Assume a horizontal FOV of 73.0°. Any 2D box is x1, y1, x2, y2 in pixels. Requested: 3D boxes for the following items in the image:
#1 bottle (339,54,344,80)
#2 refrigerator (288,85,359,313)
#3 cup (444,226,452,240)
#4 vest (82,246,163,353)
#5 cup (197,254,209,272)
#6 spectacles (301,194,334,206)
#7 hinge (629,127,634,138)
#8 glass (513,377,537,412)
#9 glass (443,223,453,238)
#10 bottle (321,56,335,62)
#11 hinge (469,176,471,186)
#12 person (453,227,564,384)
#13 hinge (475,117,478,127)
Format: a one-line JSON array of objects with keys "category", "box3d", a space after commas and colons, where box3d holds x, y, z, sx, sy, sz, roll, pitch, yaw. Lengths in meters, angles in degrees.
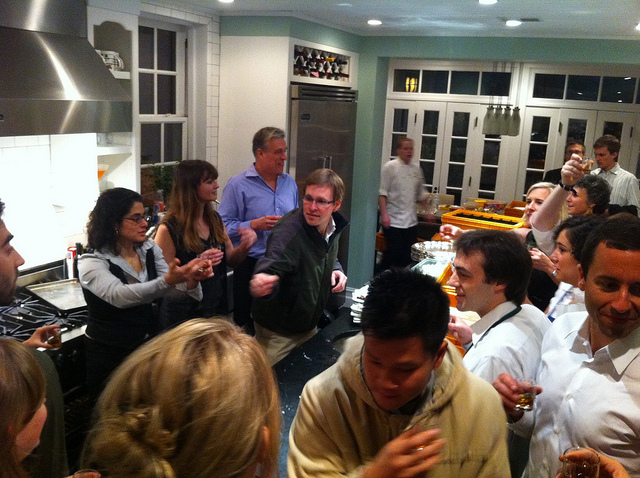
[{"category": "bottle", "box3d": [0.284, -2.298, 5.786, 0.052, 0.220, 0.201, 0, -1, 11]}, {"category": "refrigerator", "box3d": [-0.126, -0.785, 5.977, 1.049, 2.491, 0.794, -2, 21, -25]}, {"category": "cup", "box3d": [1.160, -0.068, 3.933, 0.098, 0.093, 0.166, 3, -24, 10]}, {"category": "vest", "box3d": [-1.234, 0.411, 2.909, 0.412, 0.707, 0.604, 6, 12, 20]}, {"category": "cup", "box3d": [-0.719, 0.149, 2.664, 0.064, 0.088, 0.079, -5, -10, 2]}, {"category": "spectacles", "box3d": [-0.010, -0.269, 2.989, 0.206, 0.061, 0.093, 2, 11, -1]}, {"category": "hinge", "box3d": [5.156, -1.783, 7.177, 0.037, 0.173, 0.012, 7, 12, 26]}, {"category": "glass", "box3d": [0.750, 0.577, 1.595, 0.079, 0.117, 0.072, -6, -26, 31]}, {"category": "glass", "box3d": [1.170, -0.075, 3.970, 0.070, 0.077, 0.127, -21, 6, -1]}, {"category": "bottle", "box3d": [0.095, -2.292, 5.496, 0.111, 0.041, 0.085, -2, 8, -12]}, {"category": "hinge", "box3d": [2.818, -1.114, 8.136, 0.031, 0.153, 0.007, 3, 11, 7]}, {"category": "person", "box3d": [0.833, 0.301, 1.997, 0.433, 0.642, 0.723, 6, 19, 27]}, {"category": "hinge", "box3d": [2.863, -2.161, 7.933, 0.041, 0.155, 0.011, 7, 12, 27]}]
